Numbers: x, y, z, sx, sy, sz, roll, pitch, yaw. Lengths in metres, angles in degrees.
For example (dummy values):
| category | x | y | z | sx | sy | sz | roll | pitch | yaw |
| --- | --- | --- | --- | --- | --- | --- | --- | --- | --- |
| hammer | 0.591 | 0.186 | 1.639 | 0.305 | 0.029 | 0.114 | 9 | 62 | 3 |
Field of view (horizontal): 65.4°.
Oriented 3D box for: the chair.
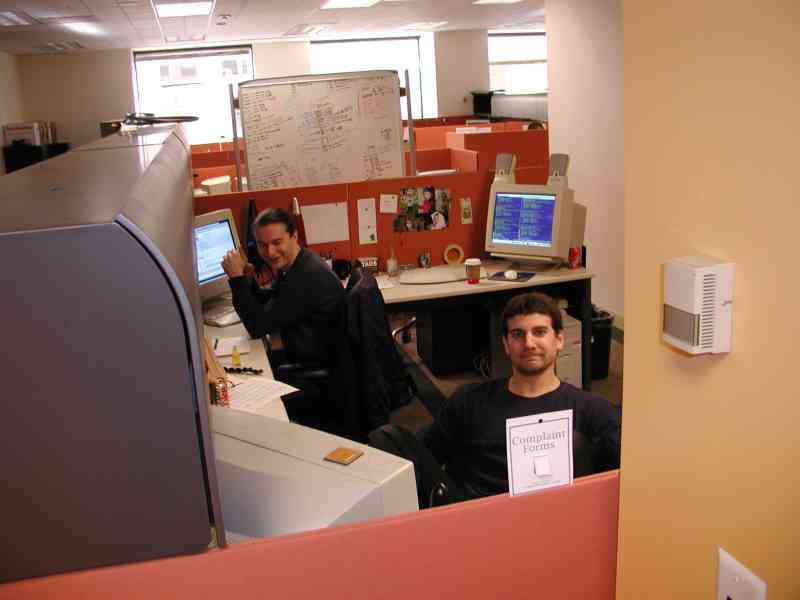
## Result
| category | x | y | z | sx | sy | sz | roll | pitch | yaw |
| --- | --- | --- | --- | --- | --- | --- | --- | --- | --- |
| chair | -0.122 | 0.153 | 2.596 | 0.318 | 0.752 | 0.531 | 1 | 48 | 5 |

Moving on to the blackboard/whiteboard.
| category | x | y | z | sx | sy | sz | roll | pitch | yaw |
| --- | --- | --- | --- | --- | --- | --- | --- | --- | --- |
| blackboard/whiteboard | -0.512 | -1.112 | 4.076 | 0.793 | 0.607 | 0.102 | -6 | 9 | -7 |

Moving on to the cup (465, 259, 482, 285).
| category | x | y | z | sx | sy | sz | roll | pitch | yaw |
| --- | --- | --- | --- | --- | --- | --- | --- | --- | --- |
| cup | 0.398 | -0.164 | 3.475 | 0.117 | 0.144 | 0.123 | -4 | 15 | 1 |

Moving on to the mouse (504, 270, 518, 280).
| category | x | y | z | sx | sy | sz | roll | pitch | yaw |
| --- | --- | --- | --- | --- | --- | --- | --- | --- | --- |
| mouse | 0.619 | -0.146 | 3.461 | 0.047 | 0.040 | 0.064 | 2 | 10 | -6 |

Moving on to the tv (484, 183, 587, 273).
| category | x | y | z | sx | sy | sz | roll | pitch | yaw |
| --- | --- | --- | --- | --- | --- | --- | --- | --- | --- |
| tv | 0.823 | -0.464 | 3.764 | 0.473 | 0.493 | 0.464 | 10 | 16 | 38 |

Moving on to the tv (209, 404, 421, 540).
| category | x | y | z | sx | sy | sz | roll | pitch | yaw |
| --- | --- | --- | --- | --- | --- | --- | --- | --- | --- |
| tv | -0.132 | 0.243 | 0.937 | 0.270 | 0.108 | 0.307 | -10 | 18 | -18 |

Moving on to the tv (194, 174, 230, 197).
| category | x | y | z | sx | sy | sz | roll | pitch | yaw |
| --- | --- | --- | --- | --- | --- | --- | --- | --- | --- |
| tv | -1.172 | -0.733 | 3.941 | 0.279 | 0.105 | 0.209 | -7 | 22 | -15 |

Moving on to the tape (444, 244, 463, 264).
| category | x | y | z | sx | sy | sz | roll | pitch | yaw |
| --- | --- | --- | --- | --- | --- | --- | --- | --- | --- |
| tape | 0.330 | -0.292 | 3.838 | 0.117 | 0.124 | 0.028 | 0 | 3 | -22 |

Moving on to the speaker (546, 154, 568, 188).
| category | x | y | z | sx | sy | sz | roll | pitch | yaw |
| --- | --- | --- | --- | --- | --- | --- | --- | --- | --- |
| speaker | 0.884 | -0.738 | 3.506 | 0.110 | 0.194 | 0.228 | 0 | 17 | 13 |

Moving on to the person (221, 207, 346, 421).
| category | x | y | z | sx | sy | sz | roll | pitch | yaw |
| --- | --- | --- | --- | --- | --- | --- | --- | --- | --- |
| person | -0.503 | 0.142 | 2.926 | 0.521 | 1.069 | 0.423 | 1 | 14 | -2 |

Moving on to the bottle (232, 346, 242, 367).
| category | x | y | z | sx | sy | sz | roll | pitch | yaw |
| --- | --- | --- | --- | --- | --- | --- | --- | --- | --- |
| bottle | -0.622 | 0.214 | 2.368 | 0.033 | 0.092 | 0.034 | -3 | 14 | 1 |
